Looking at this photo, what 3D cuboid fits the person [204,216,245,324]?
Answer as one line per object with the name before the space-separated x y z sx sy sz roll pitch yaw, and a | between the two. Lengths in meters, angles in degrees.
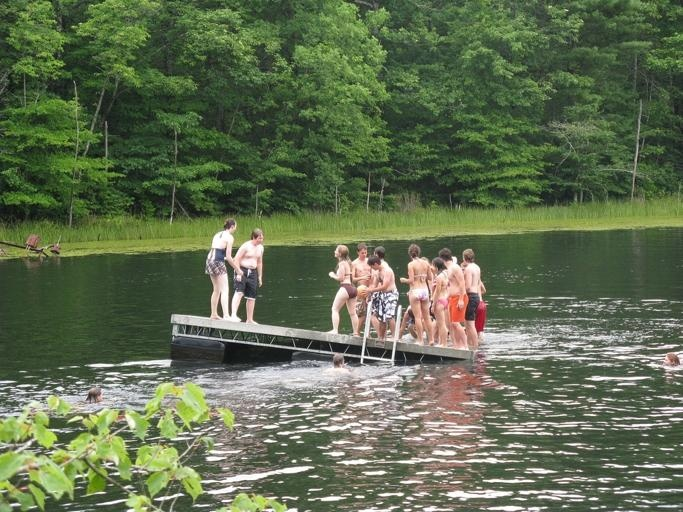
person | -2.981 0.351 27.049 0.814 2.616 1.561 0 10 -7
